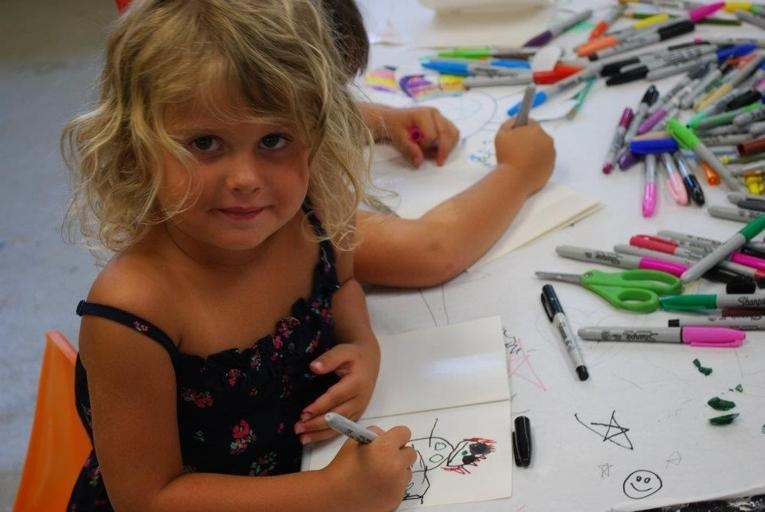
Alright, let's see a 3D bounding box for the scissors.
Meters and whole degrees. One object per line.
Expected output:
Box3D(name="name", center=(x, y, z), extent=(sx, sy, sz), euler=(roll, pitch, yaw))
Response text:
Box3D(name="scissors", center=(0.351, 0.044, 1.063), extent=(0.132, 0.017, 0.073), euler=(14, 35, 31))
